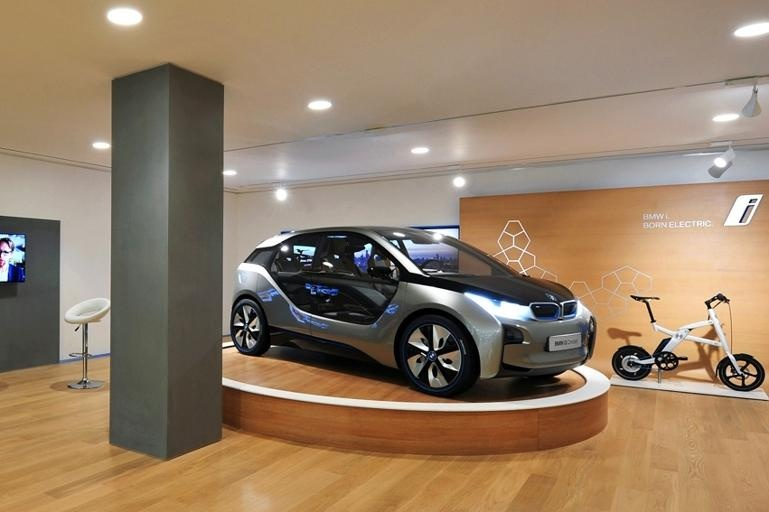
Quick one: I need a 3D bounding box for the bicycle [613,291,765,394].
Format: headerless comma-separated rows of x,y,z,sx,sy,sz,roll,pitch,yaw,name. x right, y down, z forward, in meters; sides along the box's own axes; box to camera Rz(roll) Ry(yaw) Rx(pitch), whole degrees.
4.263,1.206,6.726,1.831,1.126,1.133,-1,0,17,bicycle

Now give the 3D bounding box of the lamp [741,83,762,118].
3.692,-1.519,4.570,0.127,0.273,0.729,3,4,38,lamp

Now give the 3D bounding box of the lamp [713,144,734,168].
4.577,-1.298,6.068,0.303,0.229,0.202,-1,4,-30,lamp

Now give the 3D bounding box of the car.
0.222,0.469,4.902,3.168,1.210,1.834,-1,-4,35,car
